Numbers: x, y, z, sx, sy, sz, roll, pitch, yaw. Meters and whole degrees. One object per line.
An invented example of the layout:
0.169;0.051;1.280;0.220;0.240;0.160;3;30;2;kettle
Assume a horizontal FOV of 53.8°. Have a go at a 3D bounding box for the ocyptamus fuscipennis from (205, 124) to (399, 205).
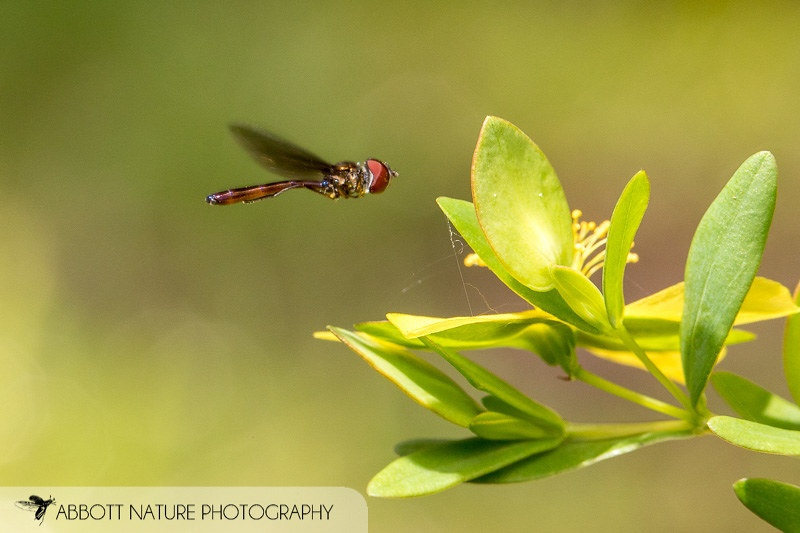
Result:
-0.132;-0.133;1.144;0.267;0.099;0.332;-1;-2;9;ocyptamus fuscipennis
